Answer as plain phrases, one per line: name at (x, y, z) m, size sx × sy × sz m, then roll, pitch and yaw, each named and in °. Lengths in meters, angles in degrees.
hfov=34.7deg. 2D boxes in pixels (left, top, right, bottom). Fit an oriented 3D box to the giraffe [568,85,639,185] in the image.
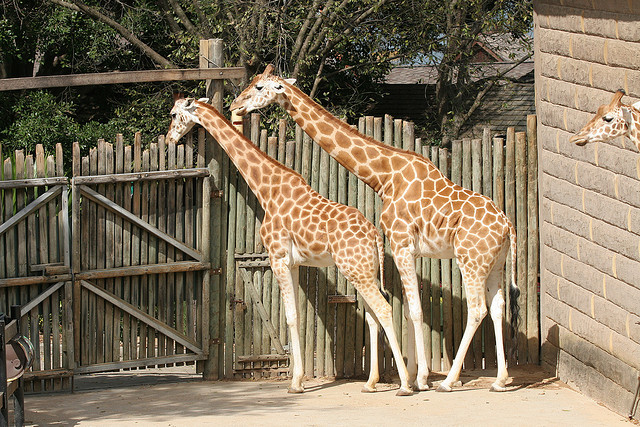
giraffe at (3.211, -0.843, 11.151) m, size 0.608 × 1.022 × 0.804 m, roll 12°, pitch 19°, yaw 41°
